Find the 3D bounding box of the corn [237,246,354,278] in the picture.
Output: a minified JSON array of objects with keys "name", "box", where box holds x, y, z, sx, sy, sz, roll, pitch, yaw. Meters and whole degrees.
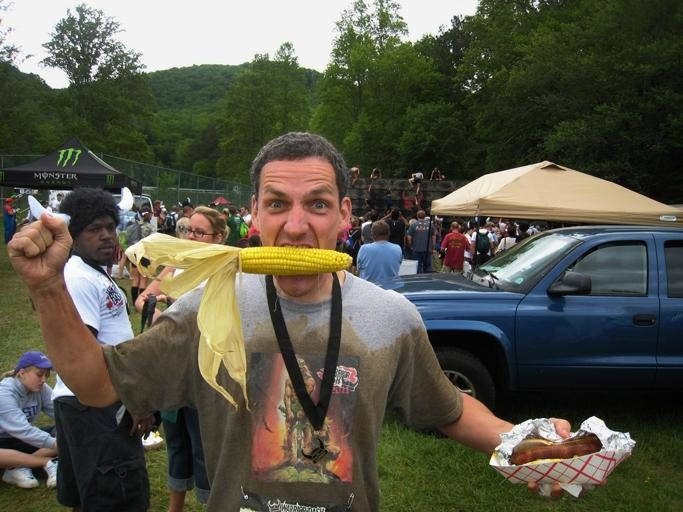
[{"name":"corn","box":[-0.255,0.026,3.179,0.746,0.204,0.179,0,34,0]}]
